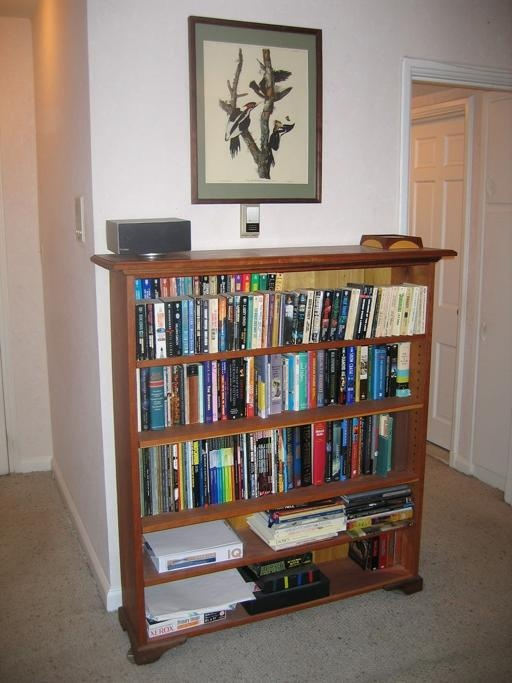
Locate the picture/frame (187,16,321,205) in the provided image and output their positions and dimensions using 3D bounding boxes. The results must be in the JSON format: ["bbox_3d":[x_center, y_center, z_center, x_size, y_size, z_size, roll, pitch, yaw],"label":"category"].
[{"bbox_3d":[-0.024,-0.816,1.986,0.597,0.702,0.026,-9,20,-25],"label":"picture/frame"}]

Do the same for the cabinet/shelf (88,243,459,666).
[{"bbox_3d":[0.084,0.333,1.910,1.121,1.301,0.317,-5,15,-17],"label":"cabinet/shelf"}]
